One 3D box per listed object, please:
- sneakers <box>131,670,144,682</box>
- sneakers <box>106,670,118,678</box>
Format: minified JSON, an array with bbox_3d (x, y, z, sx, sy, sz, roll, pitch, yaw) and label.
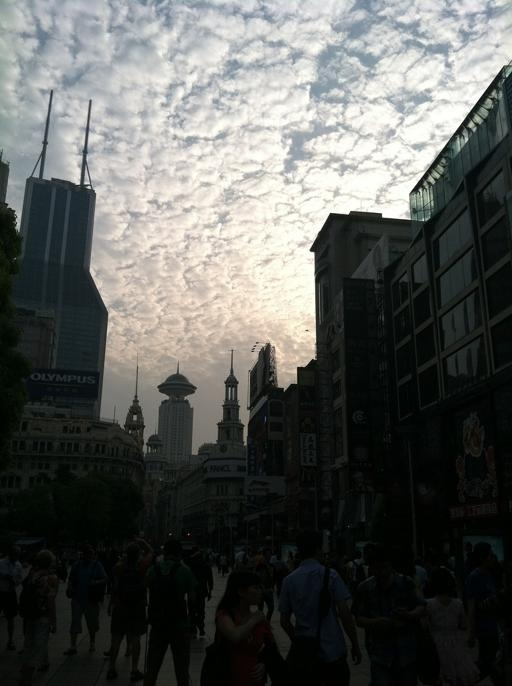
[{"bbox_3d":[-1.611,4.496,8.256,0.150,0.116,0.237,5,-17,-13],"label":"sneakers"},{"bbox_3d":[-1.953,4.505,8.288,0.145,0.088,0.222,6,-17,-14],"label":"sneakers"}]
